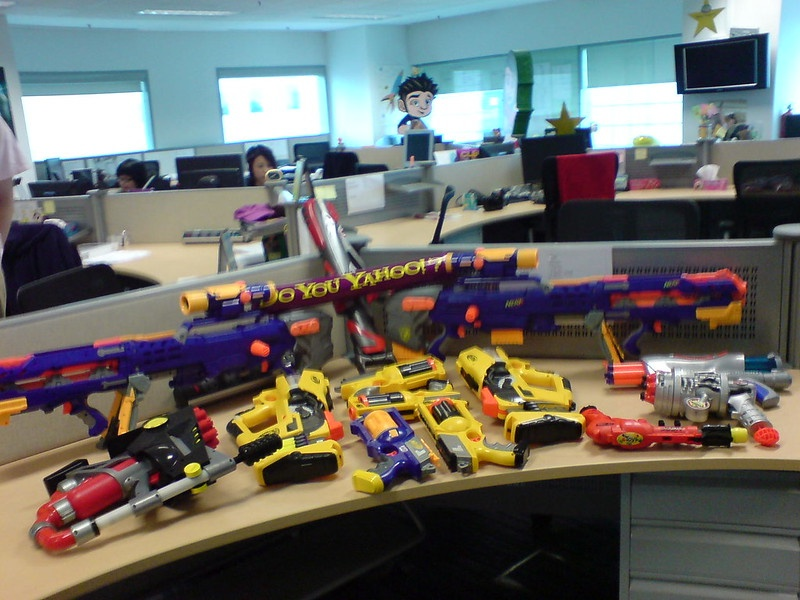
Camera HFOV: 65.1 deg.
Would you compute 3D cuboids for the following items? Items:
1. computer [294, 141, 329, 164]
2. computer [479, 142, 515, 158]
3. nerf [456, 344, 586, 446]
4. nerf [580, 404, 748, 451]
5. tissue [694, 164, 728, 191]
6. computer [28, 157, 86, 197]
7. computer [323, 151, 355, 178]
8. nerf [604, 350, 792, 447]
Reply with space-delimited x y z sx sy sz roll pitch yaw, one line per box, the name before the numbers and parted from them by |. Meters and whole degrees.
computer | -1.003 -1.652 7.098 0.379 0.251 0.531 -8 16 -8
computer | 0.805 -1.261 5.264 0.297 0.087 0.421 -2 16 11
nerf | 0.308 0.217 1.507 0.247 0.124 0.373 -9 16 -10
nerf | 0.561 0.283 1.343 0.339 0.061 0.111 0 16 19
tissue | 2.023 -0.797 4.118 0.224 0.082 0.163 16 66 35
computer | -2.846 -1.035 5.215 0.414 0.265 2.190 -14 17 -27
computer | -0.659 -1.448 6.651 0.449 0.246 0.275 -1 16 16
nerf | 0.716 0.192 1.460 0.336 0.201 0.433 0 12 -6
